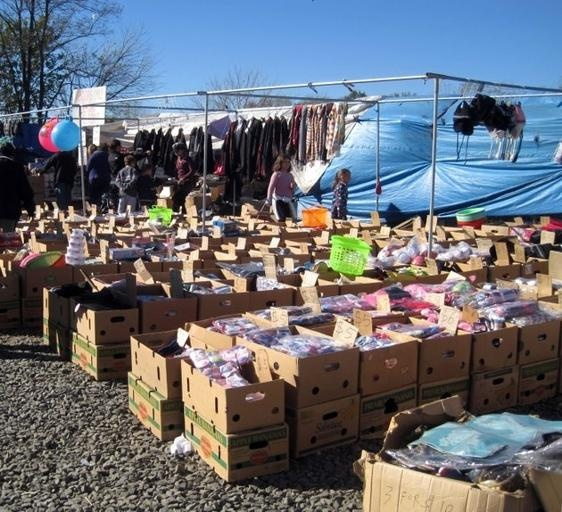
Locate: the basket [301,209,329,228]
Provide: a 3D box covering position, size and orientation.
[{"bbox_3d":[0.543,-0.561,7.628,0.419,0.209,0.299,-1,8,-19],"label":"basket"}]

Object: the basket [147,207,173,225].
[{"bbox_3d":[-1.838,-0.614,7.754,0.365,0.244,0.385,9,16,26],"label":"basket"}]

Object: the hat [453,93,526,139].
[{"bbox_3d":[2.572,-1.770,6.619,0.887,0.338,0.604,3,13,-31],"label":"hat"}]

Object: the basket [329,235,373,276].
[{"bbox_3d":[0.711,-0.015,4.905,0.396,0.254,0.412,19,16,37],"label":"basket"}]
